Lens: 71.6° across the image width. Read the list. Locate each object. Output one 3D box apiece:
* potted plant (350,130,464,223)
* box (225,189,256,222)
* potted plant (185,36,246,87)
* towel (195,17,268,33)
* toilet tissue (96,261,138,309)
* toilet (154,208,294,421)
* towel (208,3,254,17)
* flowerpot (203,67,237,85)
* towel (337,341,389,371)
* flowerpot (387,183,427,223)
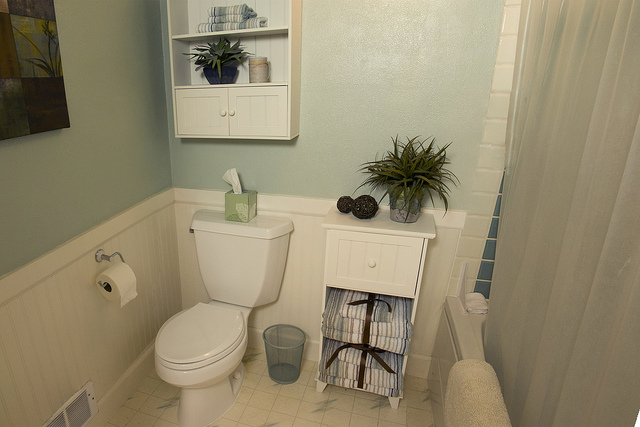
[{"bbox_3d":[0.546,-0.152,2.508,0.611,0.395,0.475,3,2,-31],"label":"potted plant"},{"bbox_3d":[-0.485,-0.052,2.721,0.164,0.165,0.169,0,11,7],"label":"box"},{"bbox_3d":[-0.577,-0.831,2.547,0.282,0.202,0.308,2,3,36],"label":"potted plant"},{"bbox_3d":[-0.484,-1.028,2.419,0.385,0.088,0.122,6,22,11],"label":"towel"},{"bbox_3d":[-1.073,0.380,2.362,0.112,0.191,0.168,20,28,40],"label":"toilet tissue"},{"bbox_3d":[-0.562,0.601,2.598,0.584,1.024,0.811,7,22,15],"label":"toilet"},{"bbox_3d":[-0.486,-1.114,2.424,0.246,0.061,0.088,-1,22,-6],"label":"towel"},{"bbox_3d":[-0.560,-0.773,2.486,0.117,0.058,0.121,-1,10,-6],"label":"flowerpot"},{"bbox_3d":[0.219,0.826,2.549,0.188,0.053,0.197,4,-3,14],"label":"towel"},{"bbox_3d":[0.464,-0.079,2.394,0.194,0.217,0.170,8,19,11],"label":"flowerpot"}]
